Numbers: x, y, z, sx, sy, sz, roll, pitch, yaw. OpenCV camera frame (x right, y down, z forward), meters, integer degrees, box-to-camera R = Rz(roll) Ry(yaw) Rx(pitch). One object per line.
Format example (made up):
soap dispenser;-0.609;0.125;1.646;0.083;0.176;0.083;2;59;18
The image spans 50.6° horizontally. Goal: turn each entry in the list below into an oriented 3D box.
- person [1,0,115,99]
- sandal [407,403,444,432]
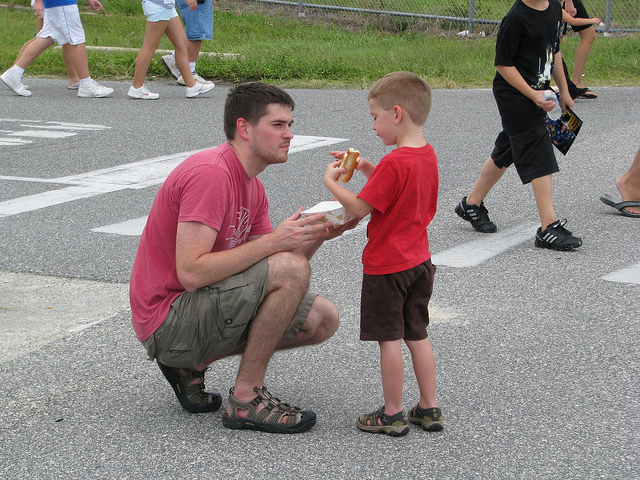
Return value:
person;-4.127;-2.990;10.681;1.614;1.501;0.543;1;25;5
sandal;0.451;0.770;2.951;0.075;0.073;0.177;-8;13;-34
